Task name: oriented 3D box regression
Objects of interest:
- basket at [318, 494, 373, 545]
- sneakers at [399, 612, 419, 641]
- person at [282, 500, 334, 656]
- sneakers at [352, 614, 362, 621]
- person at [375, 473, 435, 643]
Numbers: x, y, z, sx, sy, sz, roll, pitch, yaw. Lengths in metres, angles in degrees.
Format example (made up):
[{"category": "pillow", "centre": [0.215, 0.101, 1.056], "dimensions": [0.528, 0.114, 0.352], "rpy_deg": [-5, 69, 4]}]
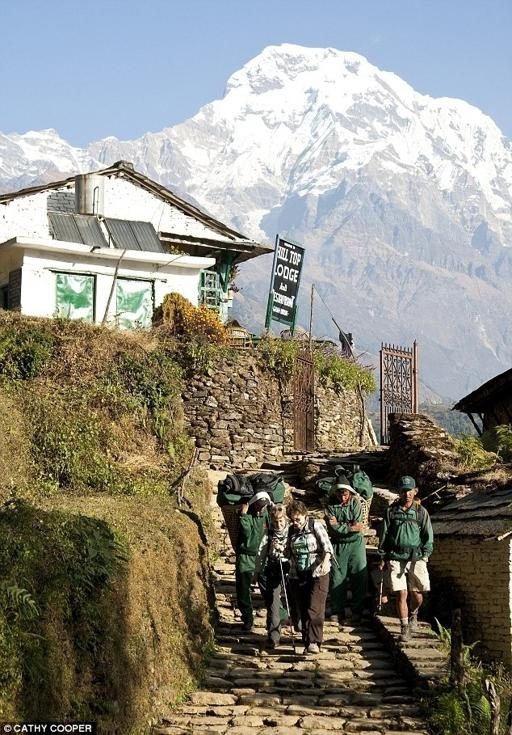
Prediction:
[{"category": "basket", "centre": [1.072, 1.819, 13.682], "dimensions": [0.659, 0.995, 0.557], "rpy_deg": [-2, -3, 8]}, {"category": "sneakers", "centre": [1.646, 2.825, 12.383], "dimensions": [0.125, 0.180, 0.395], "rpy_deg": [-8, -11, 11]}, {"category": "person", "centre": [0.523, 2.241, 12.245], "dimensions": [0.549, 1.176, 0.722], "rpy_deg": [7, 6, -22]}, {"category": "sneakers", "centre": [1.190, 2.967, 13.524], "dimensions": [0.112, 0.065, 0.116], "rpy_deg": [11, 6, 1]}, {"category": "person", "centre": [1.683, 2.041, 12.582], "dimensions": [0.487, 1.364, 0.748], "rpy_deg": [5, 7, -39]}]
